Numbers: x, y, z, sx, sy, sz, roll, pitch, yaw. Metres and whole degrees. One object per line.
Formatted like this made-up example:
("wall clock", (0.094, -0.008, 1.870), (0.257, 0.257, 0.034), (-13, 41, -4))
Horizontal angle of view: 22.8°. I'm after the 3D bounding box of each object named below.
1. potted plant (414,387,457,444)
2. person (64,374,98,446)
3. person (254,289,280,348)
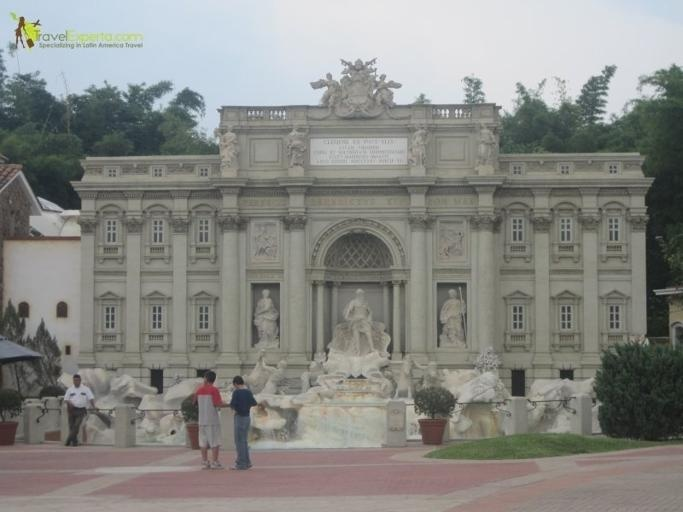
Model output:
("potted plant", (4.787, 8.139, 88.179), (1.949, 3.014, 1.364), (-1, -9, 1))
("person", (-13.527, 7.688, 87.338), (1.299, 3.831, 1.061), (1, -5, -25))
("person", (-4.665, 3.735, 105.403), (1.535, 3.718, 0.956), (0, -9, -1))
